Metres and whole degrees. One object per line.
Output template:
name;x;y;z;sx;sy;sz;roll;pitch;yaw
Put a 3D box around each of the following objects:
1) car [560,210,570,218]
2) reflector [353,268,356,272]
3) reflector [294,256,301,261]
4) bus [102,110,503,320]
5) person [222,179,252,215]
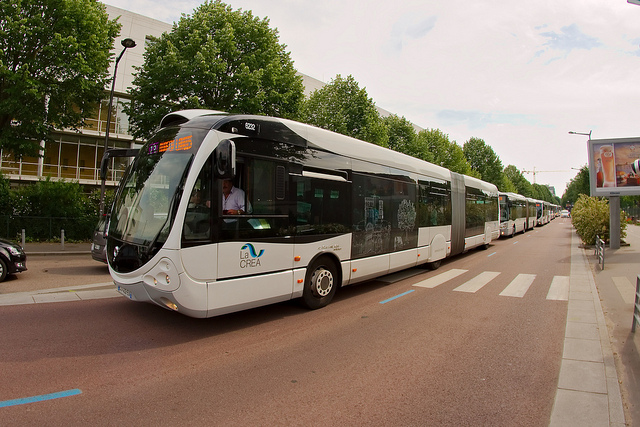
car;62.148;-0.350;99.477;2.245;2.016;4.037;-2;-6;34
reflector;0.903;1.473;10.258;0.100;0.072;0.014;-2;3;-29
reflector;-0.515;1.024;8.992;0.111;0.056;0.151;2;-2;-14
bus;1.810;0.677;14.305;4.375;4.630;16.968;-7;-9;43
person;-1.745;-0.354;8.174;0.700;0.574;0.331;-3;-2;-34
